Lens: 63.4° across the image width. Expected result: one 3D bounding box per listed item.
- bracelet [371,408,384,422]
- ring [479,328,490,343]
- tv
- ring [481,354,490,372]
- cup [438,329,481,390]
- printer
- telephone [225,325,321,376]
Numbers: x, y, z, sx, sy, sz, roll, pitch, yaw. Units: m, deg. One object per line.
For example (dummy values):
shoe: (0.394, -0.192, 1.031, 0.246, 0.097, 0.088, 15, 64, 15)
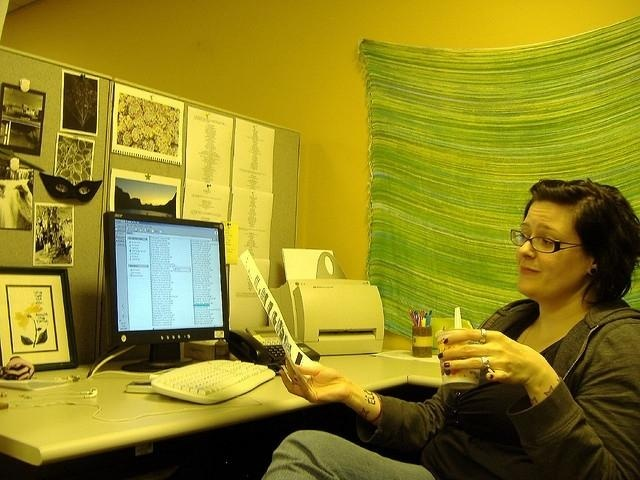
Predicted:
bracelet: (0.163, 0.497, 1.476, 0.032, 0.033, 0.033, -2, -2, 33)
ring: (0.397, 0.239, 1.269, 0.016, 0.030, 0.063, 6, 5, 8)
tv: (-0.531, 0.182, 1.766, 0.462, 0.561, 0.195, 5, -19, -37)
ring: (0.390, 0.292, 1.218, 0.013, 0.024, 0.033, 4, 5, -22)
cup: (0.339, 0.311, 1.347, 0.132, 0.138, 0.124, 0, -8, 0)
printer: (-0.026, 0.268, 2.310, 0.363, 0.458, 0.504, 1, -3, -23)
telephone: (-0.188, 0.397, 1.960, 0.250, 0.103, 0.273, 0, 0, 45)
